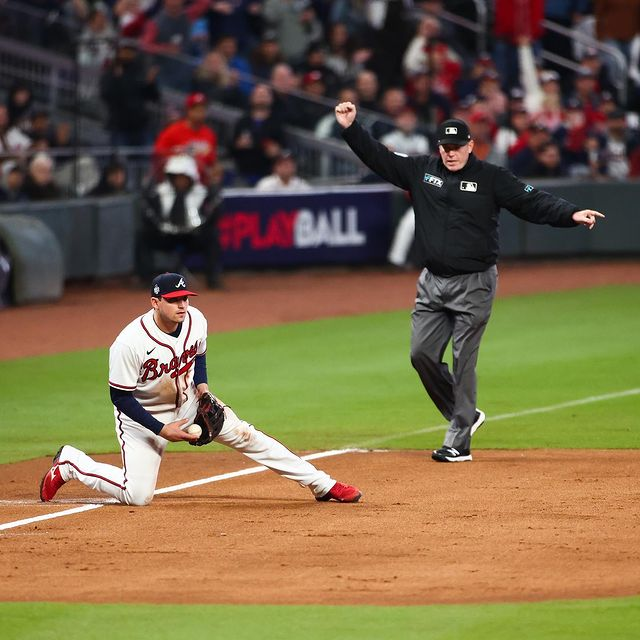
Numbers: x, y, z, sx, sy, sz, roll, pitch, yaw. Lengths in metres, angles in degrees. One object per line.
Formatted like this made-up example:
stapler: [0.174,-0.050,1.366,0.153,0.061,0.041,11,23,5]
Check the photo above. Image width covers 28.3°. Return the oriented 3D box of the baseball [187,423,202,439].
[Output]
baseball: [-0.633,0.556,6.336,0.081,0.062,0.067,-3,20,-10]

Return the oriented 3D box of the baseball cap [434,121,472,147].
baseball cap: [0.778,-1.094,7.445,0.192,0.160,0.187,1,7,12]

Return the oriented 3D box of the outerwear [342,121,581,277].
outerwear: [0.878,-0.732,7.581,1.693,0.824,0.405,7,13,39]

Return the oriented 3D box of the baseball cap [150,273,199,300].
baseball cap: [-0.743,-0.164,6.351,0.212,0.084,0.133,-2,2,31]

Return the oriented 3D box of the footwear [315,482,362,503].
footwear: [0.101,0.909,6.658,0.260,0.088,0.103,-3,5,11]

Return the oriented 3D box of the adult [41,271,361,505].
adult: [-0.554,0.394,6.609,2.085,1.104,0.725,-2,10,3]

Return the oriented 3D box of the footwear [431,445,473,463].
footwear: [0.778,0.830,7.691,0.268,0.089,0.087,2,0,-14]

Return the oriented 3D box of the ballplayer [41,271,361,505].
ballplayer: [-0.601,0.406,6.595,1.849,1.010,0.670,-1,10,1]

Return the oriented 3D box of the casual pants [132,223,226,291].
casual pants: [-1.572,-0.689,13.619,1.197,0.824,0.419,1,16,-2]

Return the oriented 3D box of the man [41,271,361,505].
man: [-0.696,0.389,6.657,1.891,1.148,0.762,3,8,-23]
